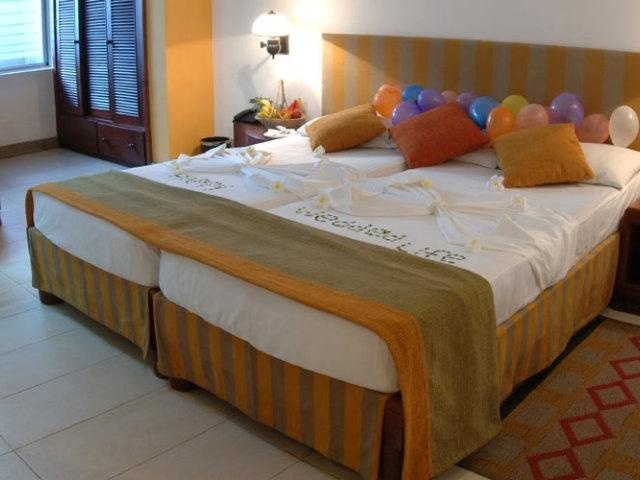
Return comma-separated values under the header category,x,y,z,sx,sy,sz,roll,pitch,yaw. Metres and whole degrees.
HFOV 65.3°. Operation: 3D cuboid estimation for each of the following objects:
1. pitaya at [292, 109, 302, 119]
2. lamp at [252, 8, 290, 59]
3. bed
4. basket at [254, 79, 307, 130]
category,x,y,z,sx,sy,sz,roll,pitch,yaw
pitaya,-0.215,-1.159,4.601,0.072,0.080,0.074,6,13,-3
lamp,-0.458,-1.904,4.607,0.382,0.454,0.391,-13,27,-28
bed,0.387,0.059,2.371,1.815,0.500,1.852,-25,33,-39
basket,-0.401,-1.303,4.628,0.423,0.334,0.543,-7,25,-18
